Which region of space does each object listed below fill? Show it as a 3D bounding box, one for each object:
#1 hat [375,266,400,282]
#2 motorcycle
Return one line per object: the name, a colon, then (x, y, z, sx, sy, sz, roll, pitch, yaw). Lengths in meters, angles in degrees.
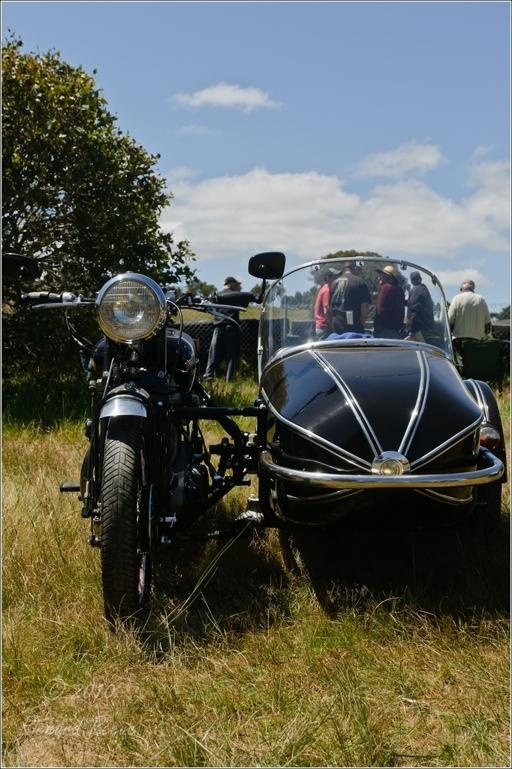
hat: (0.637, -0.529, 3.273, 0.079, 0.037, 0.094, 19, -20, 26)
motorcycle: (0.060, 0.117, 3.255, 1.489, 0.923, 1.936, -1, -2, 2)
